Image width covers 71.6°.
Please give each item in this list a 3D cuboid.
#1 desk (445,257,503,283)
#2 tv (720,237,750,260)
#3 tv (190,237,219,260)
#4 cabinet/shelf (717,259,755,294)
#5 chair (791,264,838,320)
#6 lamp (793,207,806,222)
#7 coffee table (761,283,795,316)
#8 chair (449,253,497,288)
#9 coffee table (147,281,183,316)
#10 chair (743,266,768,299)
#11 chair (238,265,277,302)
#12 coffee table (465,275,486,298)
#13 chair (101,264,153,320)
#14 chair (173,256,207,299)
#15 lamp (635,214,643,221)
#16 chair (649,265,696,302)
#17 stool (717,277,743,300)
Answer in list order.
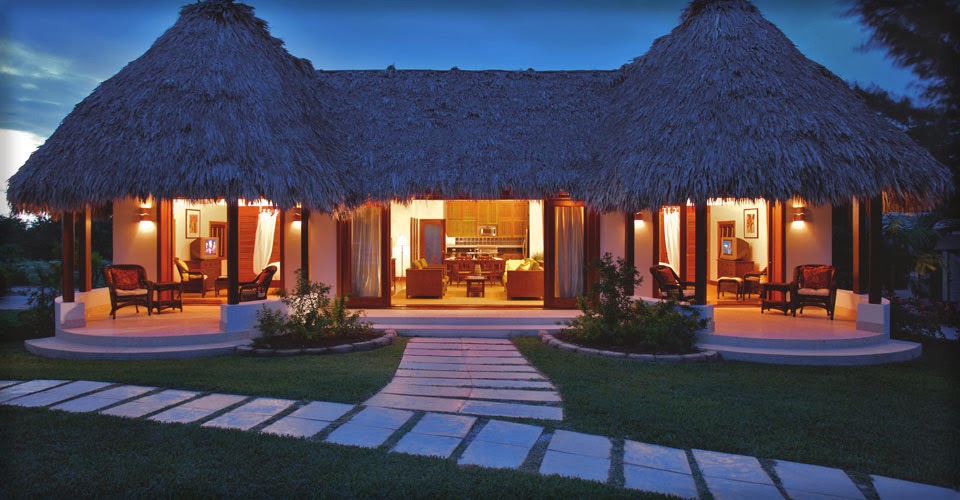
[{"bbox_3d":[-0.160,0.750,23.893,2.133,0.648,2.838,-1,0,1],"label":"desk"},{"bbox_3d":[8.553,-0.015,22.374,0.725,0.744,0.980,-1,-2,-6],"label":"tv"},{"bbox_3d":[-9.398,0.025,22.528,0.718,0.739,0.959,-3,-3,22],"label":"tv"},{"bbox_3d":[8.373,0.888,21.577,0.710,1.054,1.214,0,2,-5],"label":"cabinet/shelf"},{"bbox_3d":[9.319,1.104,18.388,1.489,1.325,1.386,-2,3,-30],"label":"chair"},{"bbox_3d":[9.432,-1.048,19.583,0.399,0.399,0.376,-1,-1,2],"label":"lamp"},{"bbox_3d":[8.483,1.376,19.143,1.103,0.795,0.951,3,-6,-5],"label":"coffee table"},{"bbox_3d":[-0.199,0.596,23.694,1.377,0.780,1.307,0,-2,-1],"label":"chair"},{"bbox_3d":[-9.029,1.377,19.271,0.906,0.780,0.770,4,-5,-27],"label":"coffee table"},{"bbox_3d":[8.781,1.013,20.776,0.947,1.178,0.759,0,-3,4],"label":"chair"},{"bbox_3d":[-6.245,0.881,18.452,1.065,1.015,0.834,-9,27,-34],"label":"chair"},{"bbox_3d":[-0.137,1.225,21.971,0.617,0.685,1.085,-1,0,0],"label":"coffee table"},{"bbox_3d":[-9.844,1.112,18.507,1.105,1.293,1.069,-1,5,-44],"label":"chair"},{"bbox_3d":[-9.132,0.887,20.926,0.894,1.244,0.682,-1,-1,-24],"label":"chair"},{"bbox_3d":[4.778,-0.988,19.880,0.225,0.147,0.213,2,7,7],"label":"lamp"},{"bbox_3d":[5.360,1.053,18.576,0.950,1.153,0.892,2,11,27],"label":"chair"},{"bbox_3d":[8.102,1.219,21.515,0.782,0.591,0.757,-1,-3,18],"label":"stool"}]
